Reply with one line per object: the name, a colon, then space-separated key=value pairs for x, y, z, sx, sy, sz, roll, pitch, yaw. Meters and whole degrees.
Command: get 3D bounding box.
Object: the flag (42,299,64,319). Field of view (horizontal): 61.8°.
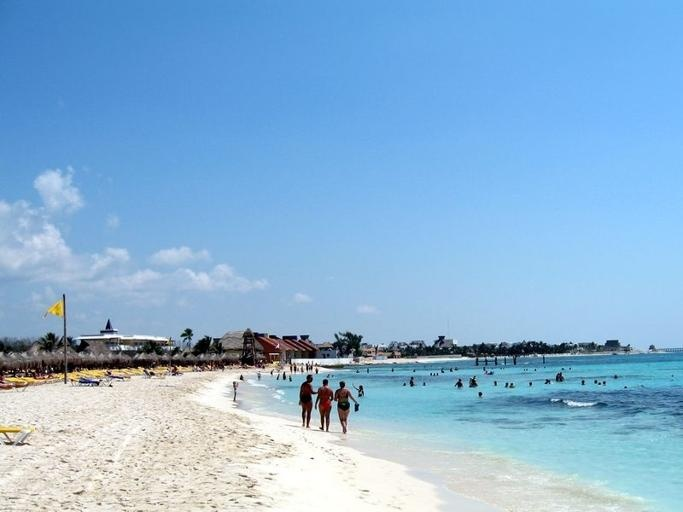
flag: x=-22.266 y=4.004 z=44.511 sx=0.929 sy=1.316 sz=2.496 roll=5 pitch=-12 yaw=-24
